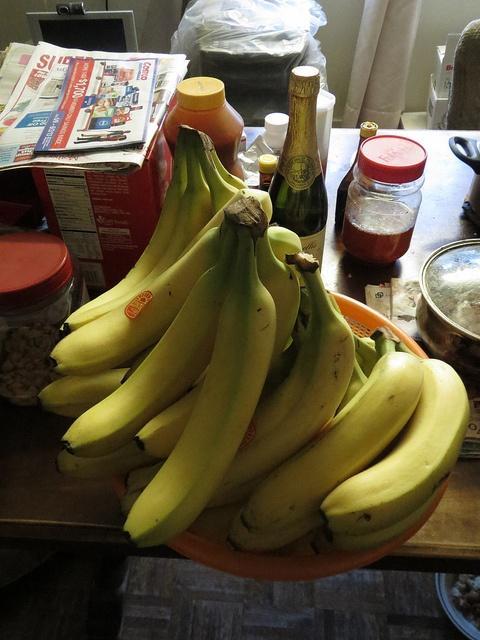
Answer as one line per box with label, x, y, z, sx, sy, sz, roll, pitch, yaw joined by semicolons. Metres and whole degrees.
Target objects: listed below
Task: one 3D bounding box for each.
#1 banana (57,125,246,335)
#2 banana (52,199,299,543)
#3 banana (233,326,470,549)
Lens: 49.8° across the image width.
banana;-0.101;-0.105;0.553;0.300;0.115;0.054;-45;58;8
banana;-0.028;0.051;0.452;0.145;0.109;0.307;25;95;17
banana;0.116;0.119;0.439;0.221;0.061;0.123;-45;48;-10
